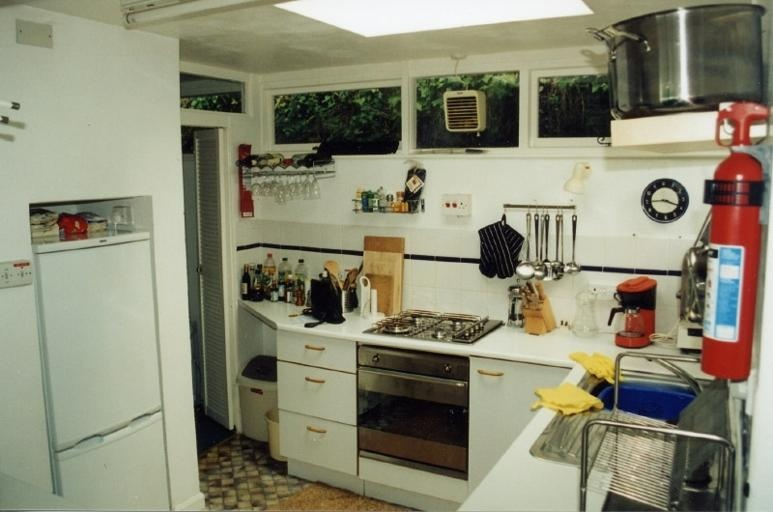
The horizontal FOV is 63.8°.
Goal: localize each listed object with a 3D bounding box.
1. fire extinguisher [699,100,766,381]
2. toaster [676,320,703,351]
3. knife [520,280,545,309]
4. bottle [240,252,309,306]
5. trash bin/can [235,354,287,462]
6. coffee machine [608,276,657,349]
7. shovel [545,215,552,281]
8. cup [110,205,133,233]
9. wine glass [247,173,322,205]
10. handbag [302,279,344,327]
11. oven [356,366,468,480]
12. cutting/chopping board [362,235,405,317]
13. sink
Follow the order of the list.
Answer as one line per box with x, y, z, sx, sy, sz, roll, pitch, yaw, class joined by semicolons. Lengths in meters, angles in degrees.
1.192;-0.052;2.132;0.186;0.930;0.144;4;10;26;fire extinguisher
1.772;0.453;3.647;0.179;0.169;0.178;0;0;0;toaster
0.996;0.255;4.198;0.086;0.178;0.135;-8;25;9;knife
-0.877;0.175;5.134;0.634;0.367;0.300;3;9;22;bottle
-0.975;1.158;4.908;0.393;0.761;0.413;-7;13;-41;trash bin/can
1.572;0.357;3.956;0.288;0.406;0.241;3;-1;-23;coffee machine
1.116;-0.070;4.269;0.055;0.430;0.112;1;9;9;shovel
-1.655;-0.235;3.876;0.133;0.170;0.183;0;17;-21;cup
-0.832;-0.539;4.997;0.678;0.230;0.397;6;11;36;wine glass
-0.460;0.315;4.575;0.299;0.303;0.431;-2;9;-8;handbag
0.253;1.024;4.311;0.786;0.619;0.634;4;9;22;oven
-0.004;0.163;4.734;0.361;0.580;0.020;3;8;28;cutting/chopping board
1.094;0.760;2.733;0.535;0.233;0.607;2;14;31;sink
